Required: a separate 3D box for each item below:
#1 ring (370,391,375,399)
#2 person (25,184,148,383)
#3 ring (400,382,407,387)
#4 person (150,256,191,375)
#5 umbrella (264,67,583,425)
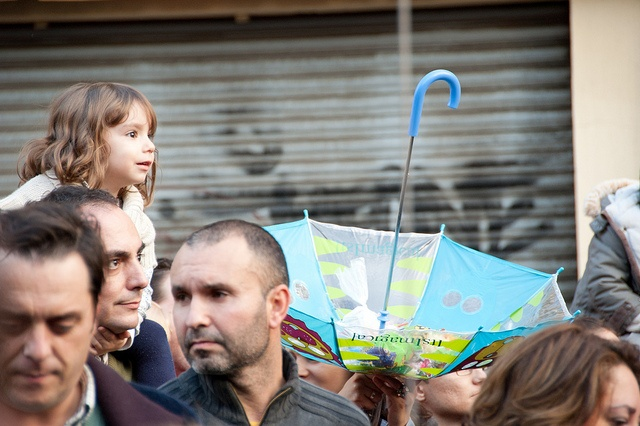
[{"bbox_3d":[0.394,1.405,11.040,0.010,0.036,0.039,11,27,-23],"label":"ring"},{"bbox_3d":[-2.017,0.405,10.572,1.313,1.127,0.910,-1,3,7],"label":"person"},{"bbox_3d":[0.632,1.307,10.951,0.035,0.030,0.031,-4,9,-9],"label":"ring"},{"bbox_3d":[-1.253,0.855,11.858,0.444,0.777,0.681,-9,11,-1],"label":"person"},{"bbox_3d":[0.762,0.133,11.725,2.901,2.620,2.773,-3,13,-43],"label":"umbrella"}]
